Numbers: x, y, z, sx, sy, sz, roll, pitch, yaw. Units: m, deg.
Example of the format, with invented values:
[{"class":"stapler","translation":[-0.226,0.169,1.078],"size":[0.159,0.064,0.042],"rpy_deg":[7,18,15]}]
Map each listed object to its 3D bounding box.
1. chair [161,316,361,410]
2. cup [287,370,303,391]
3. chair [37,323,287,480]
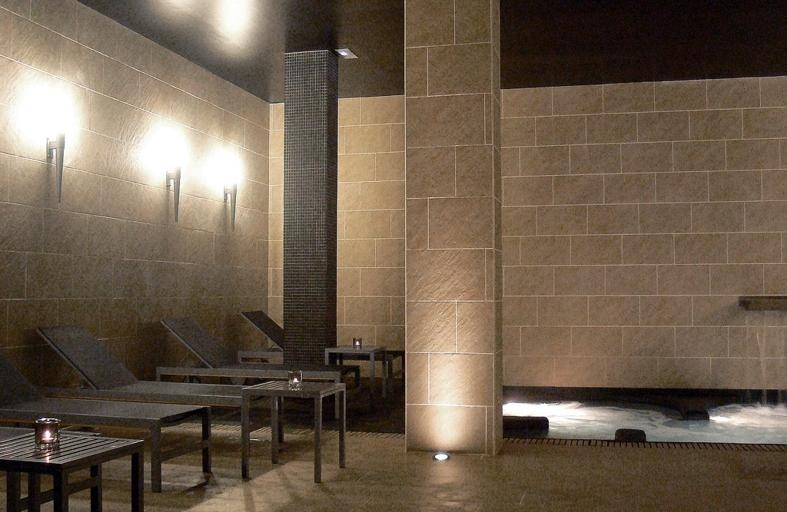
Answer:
[{"class":"chair","translation":[-1.696,1.195,8.385],"size":[2.054,0.690,0.981],"rpy_deg":[-1,-1,10]},{"class":"cup","translation":[-0.841,1.094,6.313],"size":[0.157,0.148,0.143],"rpy_deg":[-1,-3,0]},{"class":"chair","translation":[-2.195,1.231,7.104],"size":[3.362,1.283,1.024],"rpy_deg":[0,-1,14]}]
